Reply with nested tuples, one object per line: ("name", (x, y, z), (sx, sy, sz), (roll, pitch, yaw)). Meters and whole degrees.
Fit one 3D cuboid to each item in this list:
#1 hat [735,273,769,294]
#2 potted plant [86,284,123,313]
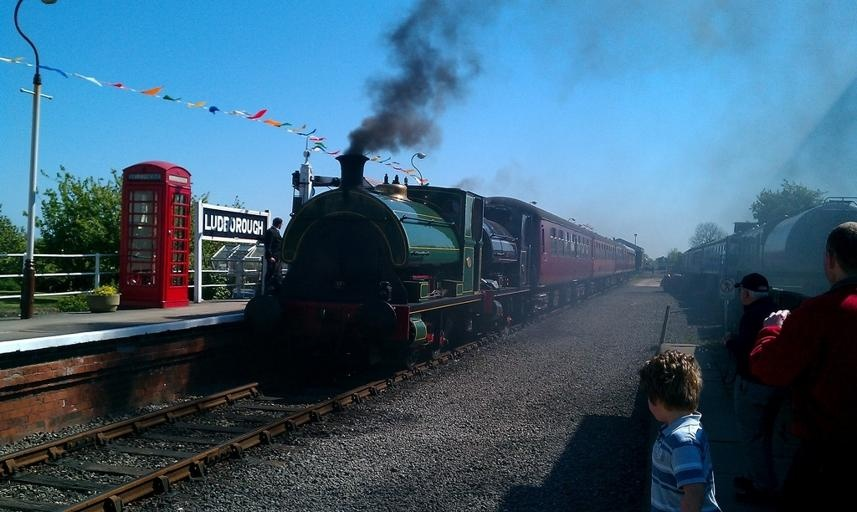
("hat", (3.592, 0.301, 5.934), (0.226, 0.170, 0.299), (2, -1, -26))
("potted plant", (-7.069, 0.934, 11.498), (0.674, 0.536, 0.432), (2, 5, 1))
